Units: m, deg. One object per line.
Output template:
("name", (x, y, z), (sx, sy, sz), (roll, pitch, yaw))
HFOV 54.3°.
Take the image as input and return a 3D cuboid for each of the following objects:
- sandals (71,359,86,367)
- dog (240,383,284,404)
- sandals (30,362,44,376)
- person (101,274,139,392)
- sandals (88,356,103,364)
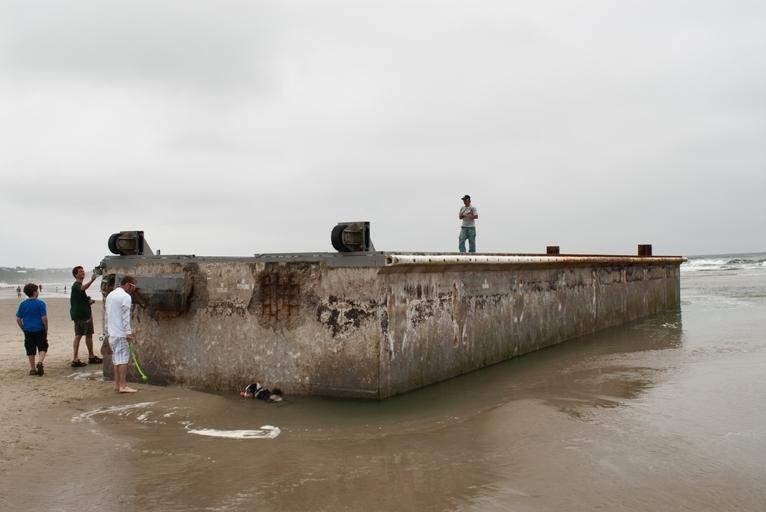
("sandals", (-5.491, 1.949, 13.521), (0.128, 0.115, 0.238), (1, 5, 16))
("dog", (-1.743, 1.959, 10.888), (0.691, 0.368, 0.243), (4, 0, 25))
("sandals", (-5.858, 1.927, 12.660), (0.129, 0.159, 0.363), (-1, -2, -1))
("person", (-3.956, 1.222, 11.415), (0.463, 1.781, 0.735), (-5, 12, -20))
("sandals", (-5.319, 1.934, 13.834), (0.335, 0.156, 0.163), (-1, -1, 20))
